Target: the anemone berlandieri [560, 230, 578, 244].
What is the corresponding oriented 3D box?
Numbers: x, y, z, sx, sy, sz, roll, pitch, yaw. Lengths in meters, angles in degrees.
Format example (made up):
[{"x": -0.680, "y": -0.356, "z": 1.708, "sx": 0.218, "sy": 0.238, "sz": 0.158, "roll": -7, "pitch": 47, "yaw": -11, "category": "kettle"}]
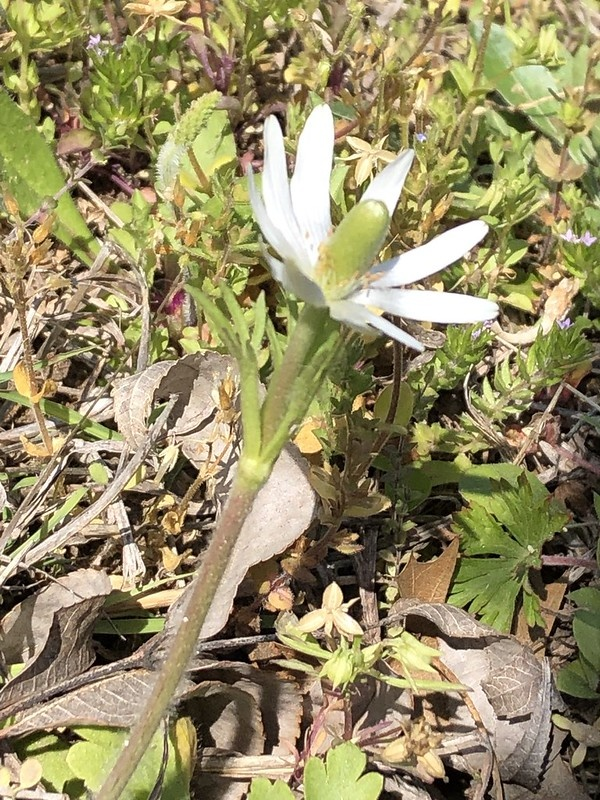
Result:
[{"x": 0.765, "y": -0.461, "z": 2.174, "sx": 0.049, "sy": 0.020, "sz": 0.045, "roll": 6, "pitch": 52, "yaw": 6, "category": "anemone berlandieri"}]
